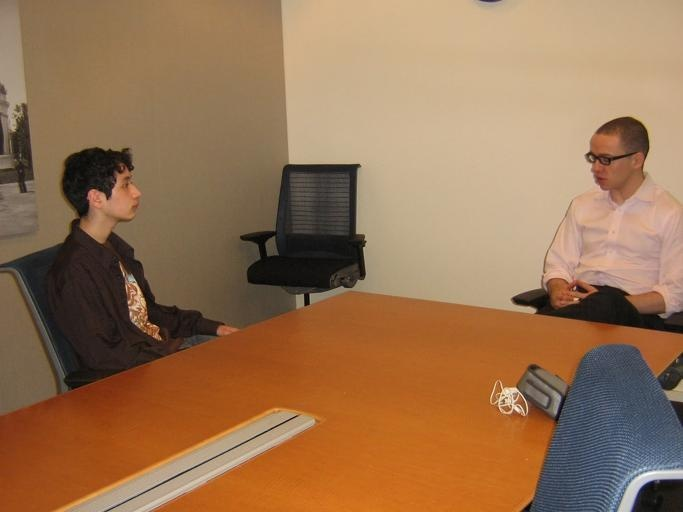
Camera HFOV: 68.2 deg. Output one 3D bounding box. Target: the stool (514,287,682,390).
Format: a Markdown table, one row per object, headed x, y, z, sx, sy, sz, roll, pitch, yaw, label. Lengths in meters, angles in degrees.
| x | y | z | sx | sy | sz | roll | pitch | yaw | label |
| --- | --- | --- | --- | --- | --- | --- | --- | --- | --- |
| 1.059 | 0.325 | 2.136 | 0.333 | 0.509 | 0.324 | -5 | -9 | 31 | stool |

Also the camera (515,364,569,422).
| x | y | z | sx | sy | sz | roll | pitch | yaw | label |
| --- | --- | --- | --- | --- | --- | --- | --- | --- | --- |
| 0.485 | 0.337 | 1.218 | 0.054 | 0.072 | 0.098 | -33 | 32 | -12 | camera |

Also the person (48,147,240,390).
| x | y | z | sx | sy | sz | roll | pitch | yaw | label |
| --- | --- | --- | --- | --- | --- | --- | --- | --- | --- |
| -0.771 | 0.163 | 2.231 | 0.866 | 1.246 | 0.633 | -1 | 9 | -12 | person |
